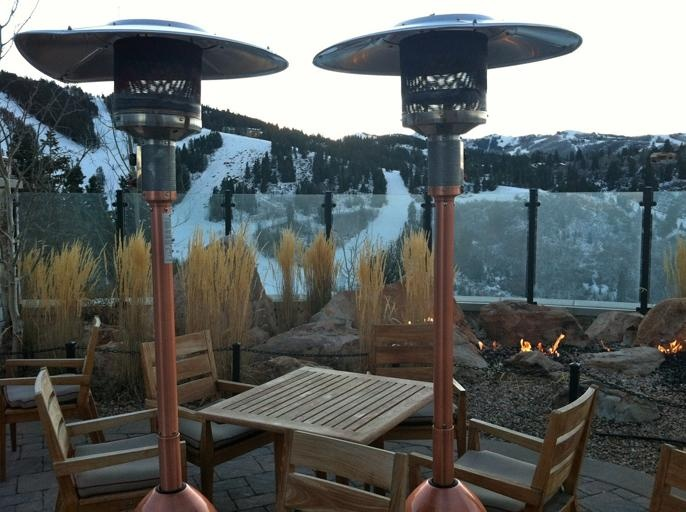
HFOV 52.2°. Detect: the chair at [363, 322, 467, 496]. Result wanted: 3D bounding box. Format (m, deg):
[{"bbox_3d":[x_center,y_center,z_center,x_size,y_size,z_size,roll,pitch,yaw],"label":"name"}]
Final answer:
[{"bbox_3d":[0.496,1.036,5.108,0.813,1.313,0.888,0,-3,-2],"label":"chair"}]
